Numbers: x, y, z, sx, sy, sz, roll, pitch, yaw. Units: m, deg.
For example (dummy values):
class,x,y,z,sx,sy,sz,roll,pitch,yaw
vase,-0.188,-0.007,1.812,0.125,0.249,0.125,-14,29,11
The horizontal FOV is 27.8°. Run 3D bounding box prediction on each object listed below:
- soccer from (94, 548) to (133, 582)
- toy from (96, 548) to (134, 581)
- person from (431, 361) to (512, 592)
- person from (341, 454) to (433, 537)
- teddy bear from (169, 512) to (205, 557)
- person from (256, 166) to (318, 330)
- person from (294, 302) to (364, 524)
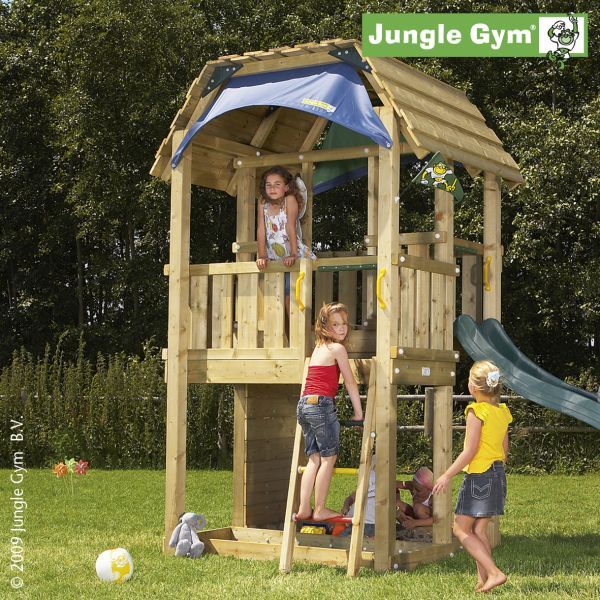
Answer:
class,x,y,z,sx,sy,sz,roll,pitch,yaw
soccer,-1.665,2.380,10.748,0.253,0.302,0.276,-4,36,-11
toy,-1.666,2.379,10.752,0.250,0.298,0.277,-4,39,-4
person,1.494,1.502,10.281,0.601,1.951,0.433,0,-3,7
person,0.954,2.122,12.495,1.053,0.562,0.554,-16,8,-6
teddy bear,-1.122,2.319,11.921,0.356,0.426,0.385,1,-3,-6
person,-0.145,-0.491,12.196,0.586,1.719,0.987,0,-3,0
person,0.246,1.034,11.163,0.603,1.997,0.460,1,-3,-4
